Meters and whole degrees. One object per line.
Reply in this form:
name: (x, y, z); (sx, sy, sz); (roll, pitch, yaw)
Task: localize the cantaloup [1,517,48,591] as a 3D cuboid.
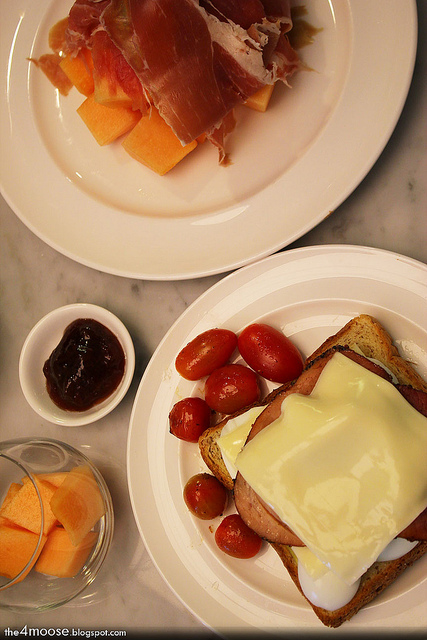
cantaloup: (-0.404, 0.501, 1.239); (0.108, 0.047, 0.131); (15, 101, 20)

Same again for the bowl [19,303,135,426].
bowl: (-0.323, 0.082, 1.337); (0.293, 0.105, 0.294); (1, 92, 17)

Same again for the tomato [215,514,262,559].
tomato: (0.051, 0.477, 1.241); (0.130, 0.140, 0.074); (2, 88, -1)

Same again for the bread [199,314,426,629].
bread: (0.242, 0.257, 1.182); (0.325, 0.799, 0.509); (14, 58, 17)

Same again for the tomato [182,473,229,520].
tomato: (-0.013, 0.374, 1.220); (0.085, 0.056, 0.101); (-1, 79, -5)

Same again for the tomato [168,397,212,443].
tomato: (-0.050, 0.226, 1.255); (0.083, 0.062, 0.088); (14, 41, 20)

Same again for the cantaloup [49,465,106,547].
cantaloup: (-0.301, 0.386, 1.271); (0.154, 0.125, 0.138); (-25, 48, -37)

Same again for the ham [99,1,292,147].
ham: (-0.072, -0.557, 1.222); (0.341, 0.232, 0.214); (28, 67, 28)

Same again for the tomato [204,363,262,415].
tomato: (0.044, 0.151, 1.229); (0.081, 0.065, 0.101); (27, 42, 37)
